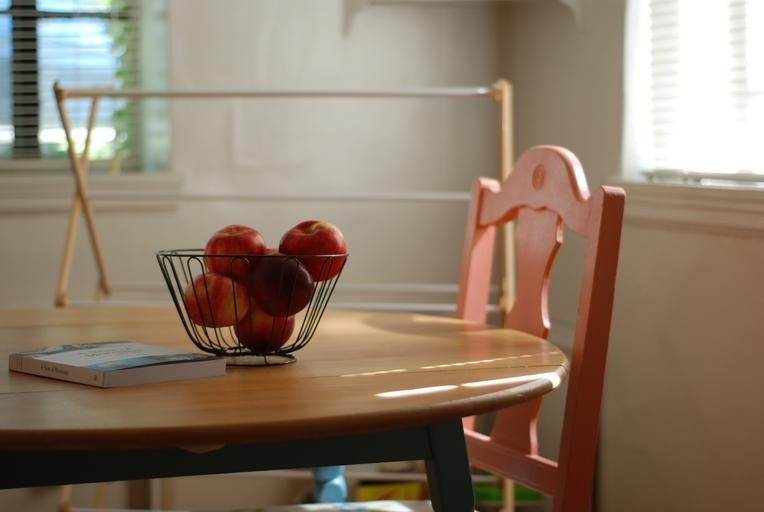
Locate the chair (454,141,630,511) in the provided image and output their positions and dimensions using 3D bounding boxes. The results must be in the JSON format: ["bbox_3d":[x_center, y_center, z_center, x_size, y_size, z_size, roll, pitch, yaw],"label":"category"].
[{"bbox_3d":[0.318,0.100,1.440,0.413,0.833,0.399,1,1,-14],"label":"chair"}]
